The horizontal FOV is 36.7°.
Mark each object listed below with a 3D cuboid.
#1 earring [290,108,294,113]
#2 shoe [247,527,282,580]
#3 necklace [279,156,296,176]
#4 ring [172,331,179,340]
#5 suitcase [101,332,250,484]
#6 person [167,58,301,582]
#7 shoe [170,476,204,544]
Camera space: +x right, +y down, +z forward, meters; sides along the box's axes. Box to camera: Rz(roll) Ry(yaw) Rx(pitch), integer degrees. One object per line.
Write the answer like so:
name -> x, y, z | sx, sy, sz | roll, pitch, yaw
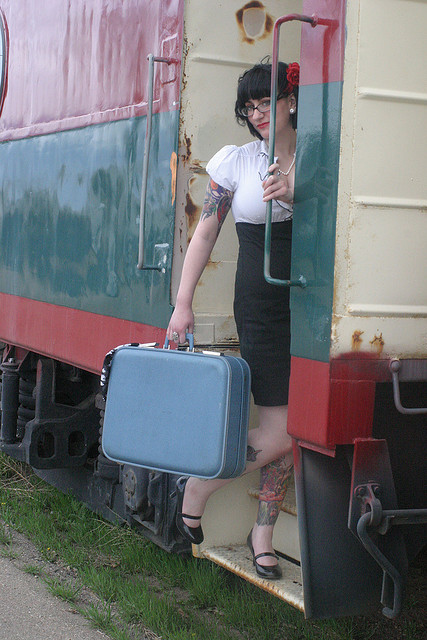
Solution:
earring -> 0.253, -0.676, 2.070 | 0.014, 0.010, 0.004 | -5, 4, -35
shoe -> 0.168, 0.783, 2.197 | 0.066, 0.098, 0.220 | -1, 14, -15
necklace -> 0.235, -0.488, 2.044 | 0.038, 0.073, 0.149 | -2, 4, 14
ring -> -0.126, 0.048, 2.132 | 0.020, 0.037, 0.018 | -1, -6, 30
suitcase -> -0.116, 0.255, 1.826 | 0.435, 0.364, 0.147 | -1, 3, 25
person -> 0.128, 0.036, 2.261 | 0.415, 1.803, 0.525 | -3, 8, -16
shoe -> -0.101, 0.691, 2.441 | 0.122, 0.294, 0.372 | -3, 3, -5
